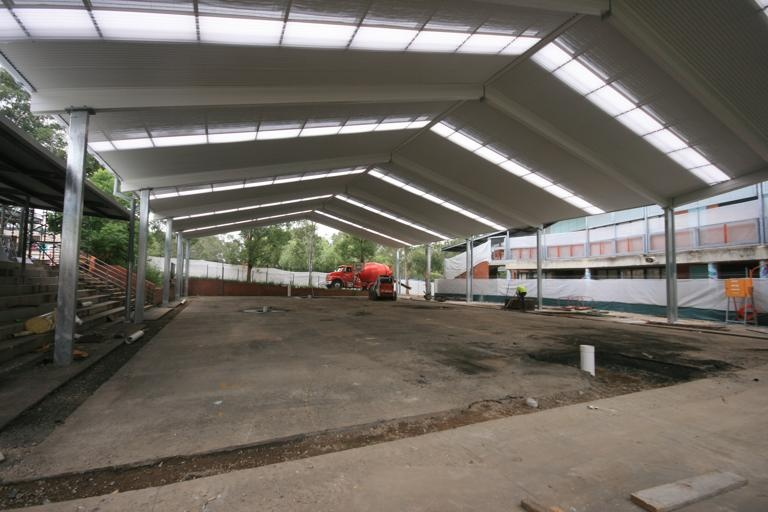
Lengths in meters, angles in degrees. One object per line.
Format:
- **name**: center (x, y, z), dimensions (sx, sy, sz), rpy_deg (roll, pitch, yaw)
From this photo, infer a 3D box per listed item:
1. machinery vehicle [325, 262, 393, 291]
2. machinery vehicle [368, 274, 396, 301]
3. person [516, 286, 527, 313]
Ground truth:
- **machinery vehicle**: center (-2.526, 1.788, 39.711), dimensions (6.642, 2.417, 2.382), rpy_deg (2, -6, -2)
- **machinery vehicle**: center (-0.042, 2.468, 32.322), dimensions (1.859, 1.962, 1.269), rpy_deg (0, 13, -3)
- **person**: center (8.115, 2.439, 24.694), dimensions (0.580, 1.462, 1.052), rpy_deg (5, 14, 16)
